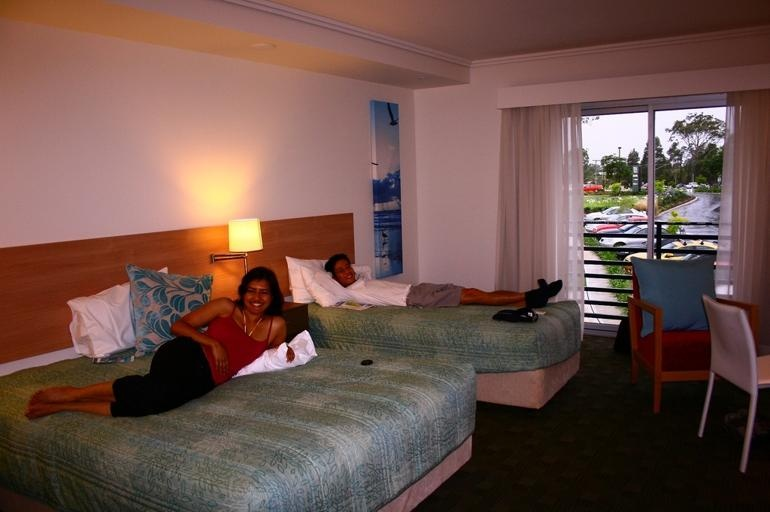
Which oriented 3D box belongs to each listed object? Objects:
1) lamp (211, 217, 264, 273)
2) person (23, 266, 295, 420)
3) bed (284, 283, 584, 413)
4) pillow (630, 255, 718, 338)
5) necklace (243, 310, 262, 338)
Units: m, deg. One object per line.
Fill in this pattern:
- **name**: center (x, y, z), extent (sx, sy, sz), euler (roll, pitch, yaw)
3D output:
- **lamp**: center (-1.542, -0.074, 5.056), extent (0.438, 0.590, 0.420), euler (6, 14, 40)
- **person**: center (-1.535, 0.702, 3.600), extent (1.854, 0.722, 0.534), euler (-11, 7, -9)
- **bed**: center (0.540, 0.808, 4.890), extent (2.185, 0.490, 1.328), euler (3, 8, 27)
- **pillow**: center (2.746, 0.418, 4.661), extent (0.791, 0.712, 0.260), euler (-3, -23, 7)
- **necklace**: center (-1.111, 0.585, 4.031), extent (0.134, 0.179, 0.067), euler (6, -11, -3)
